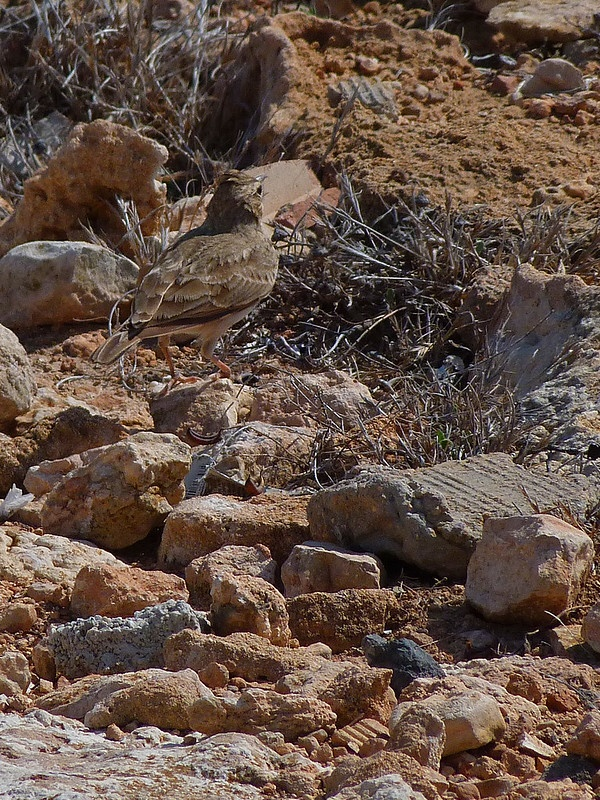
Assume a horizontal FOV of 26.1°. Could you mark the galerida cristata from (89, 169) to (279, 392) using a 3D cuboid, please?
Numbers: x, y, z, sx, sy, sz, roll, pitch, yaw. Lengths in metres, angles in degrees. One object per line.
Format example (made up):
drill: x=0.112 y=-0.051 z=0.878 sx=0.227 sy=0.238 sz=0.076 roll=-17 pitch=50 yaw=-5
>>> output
galerida cristata: x=-0.471 y=-0.586 z=6.133 sx=0.673 sy=0.879 sz=1.267 roll=13 pitch=19 yaw=-2
